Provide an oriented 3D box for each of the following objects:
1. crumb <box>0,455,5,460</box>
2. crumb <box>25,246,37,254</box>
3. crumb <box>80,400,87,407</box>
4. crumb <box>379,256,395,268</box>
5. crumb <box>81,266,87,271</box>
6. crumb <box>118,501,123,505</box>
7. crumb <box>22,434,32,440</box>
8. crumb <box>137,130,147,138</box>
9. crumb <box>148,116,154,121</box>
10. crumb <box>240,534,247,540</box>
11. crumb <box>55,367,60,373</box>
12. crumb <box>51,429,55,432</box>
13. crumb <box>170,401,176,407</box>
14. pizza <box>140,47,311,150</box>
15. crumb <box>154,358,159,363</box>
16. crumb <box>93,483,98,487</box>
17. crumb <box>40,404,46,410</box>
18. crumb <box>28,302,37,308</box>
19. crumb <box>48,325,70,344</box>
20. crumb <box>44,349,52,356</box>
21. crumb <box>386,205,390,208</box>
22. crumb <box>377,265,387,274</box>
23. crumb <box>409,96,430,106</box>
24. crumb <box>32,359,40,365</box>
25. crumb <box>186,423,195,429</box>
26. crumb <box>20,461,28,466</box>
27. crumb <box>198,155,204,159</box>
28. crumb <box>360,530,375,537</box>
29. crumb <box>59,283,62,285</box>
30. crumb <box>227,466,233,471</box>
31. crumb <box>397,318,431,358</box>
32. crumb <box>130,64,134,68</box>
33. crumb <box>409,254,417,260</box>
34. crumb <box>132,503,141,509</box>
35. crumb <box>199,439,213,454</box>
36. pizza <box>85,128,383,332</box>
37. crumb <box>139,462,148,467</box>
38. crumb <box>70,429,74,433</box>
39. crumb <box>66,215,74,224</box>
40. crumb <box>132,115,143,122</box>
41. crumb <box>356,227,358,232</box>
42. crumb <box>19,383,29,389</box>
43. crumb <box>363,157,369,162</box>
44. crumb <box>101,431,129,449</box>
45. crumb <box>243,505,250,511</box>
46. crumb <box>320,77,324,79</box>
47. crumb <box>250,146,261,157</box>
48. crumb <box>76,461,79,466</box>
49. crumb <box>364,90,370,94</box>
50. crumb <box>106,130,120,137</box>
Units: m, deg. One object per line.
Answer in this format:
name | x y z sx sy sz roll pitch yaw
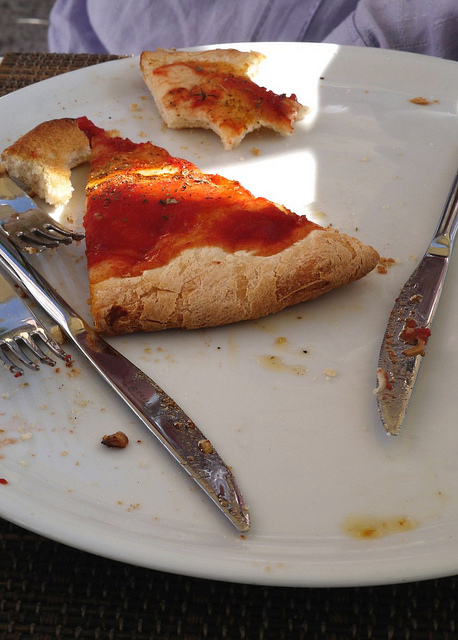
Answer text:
crumb | -0.253 0.154 0.814 0.004 0.001 0.003 4 56 -4
crumb | -0.284 -0.100 1.043 0.011 0.008 0.003 -3 5 -2
crumb | -0.175 0.101 0.874 0.006 0.002 0.006 32 51 30
crumb | 0.233 -0.085 1.071 0.019 0.005 0.016 0 31 2
crumb | -0.211 -0.074 1.063 0.005 0.001 0.005 19 41 21
crumb | -0.117 0.196 0.782 0.003 0.001 0.003 -13 57 2
crumb | -0.232 0.135 0.839 0.010 0.003 0.007 -9 57 4
crumb | -0.159 -0.339 1.336 0.012 0.003 0.012 25 54 25
crumb | -0.147 -0.379 1.378 0.010 0.002 0.010 -30 50 -15
crumb | 0.015 0.224 0.753 0.006 0.002 0.006 -11 57 3
crumb | -0.215 0.063 0.910 0.006 0.001 0.005 -28 58 -19
crumb | -0.205 0.129 0.847 0.003 0.001 0.004 7 59 14
crumb | -0.066 0.100 0.869 0.006 0.001 0.005 5 37 1
pizza | -0.014 -0.410 1.379 0.326 0.055 0.259 33 51 28
crumb | -0.092 0.052 0.932 0.005 0.001 0.005 -8 28 21
crumb | -0.146 0.180 0.796 0.004 0.001 0.005 -11 56 3
crumb | -0.223 0.104 0.870 0.006 0.001 0.005 16 66 11
crumb | -0.270 -0.020 1.001 0.008 0.002 0.007 6 42 8
crumb | -0.224 0.020 0.952 0.028 0.007 0.023 -15 77 -2
crumb | -0.232 0.042 0.930 0.007 0.002 0.007 -20 46 -23
crumb | 0.256 -0.181 1.165 0.007 0.002 0.006 0 45 2
crumb | 0.224 -0.072 1.059 0.012 0.004 0.010 3 41 1
crumb | 0.361 -0.411 1.374 0.028 0.005 0.022 0 43 2
crumb | -0.245 0.054 0.920 0.006 0.001 0.006 24 30 34
crumb | -0.043 0.123 0.844 0.007 0.002 0.006 -3 35 -10
crumb | -0.228 0.159 0.811 0.006 0.002 0.005 -14 57 1
crumb | -0.050 -0.286 1.285 0.005 0.004 0.019 3 14 20
crumb | 0.144 0.221 0.760 0.009 0.002 0.007 -18 14 -40
crumb | -0.240 -0.050 1.036 0.004 0.001 0.004 2 42 -2
crumb | 0.002 0.165 0.811 0.005 0.007 0.006 -17 59 2
crumb | 0.231 0.023 0.935 0.035 0.010 0.047 9 44 24
crumb | -0.198 -0.515 1.487 0.009 0.002 0.007 1 37 -1
crumb | 0.272 -0.091 1.075 0.009 0.002 0.007 0 51 6
crumb | -0.099 0.200 0.780 0.004 0.001 0.006 22 23 28
crumb | -0.025 0.143 0.822 0.012 0.003 0.014 0 35 -7
pizza | -0.023 -0.151 1.145 0.408 0.077 0.455 -2 39 -11
crumb | -0.095 0.161 0.815 0.005 0.001 0.005 -11 28 -31
crumb | -0.183 0.129 0.848 0.005 0.001 0.005 -8 56 5
crumb | -0.253 -0.157 1.150 0.013 0.003 0.011 6 53 0
crumb | -0.173 -0.381 1.377 0.017 0.004 0.016 29 52 29
crumb | 0.200 -0.140 1.132 0.003 0.002 0.009 15 37 7
crumb | -0.251 0.081 0.890 0.006 0.002 0.009 4 14 2
crumb | 0.238 -0.276 1.260 0.009 0.002 0.007 4 53 3
crumb | -0.128 0.137 0.830 0.025 0.010 0.016 0 45 -3
crumb | 0.018 0.199 0.772 0.005 0.009 0.006 18 67 20
crumb | 0.186 -0.476 1.441 0.005 0.001 0.004 -8 60 0
crumb | 0.048 -0.297 1.295 0.022 0.006 0.020 -4 57 6
crumb | -0.170 0.160 0.816 0.003 0.001 0.004 -13 56 2
crumb | 0.267 -0.436 1.402 0.009 0.002 0.007 5 53 11
crumb | -0.213 -0.340 1.331 0.019 0.003 0.018 -12 37 -15
